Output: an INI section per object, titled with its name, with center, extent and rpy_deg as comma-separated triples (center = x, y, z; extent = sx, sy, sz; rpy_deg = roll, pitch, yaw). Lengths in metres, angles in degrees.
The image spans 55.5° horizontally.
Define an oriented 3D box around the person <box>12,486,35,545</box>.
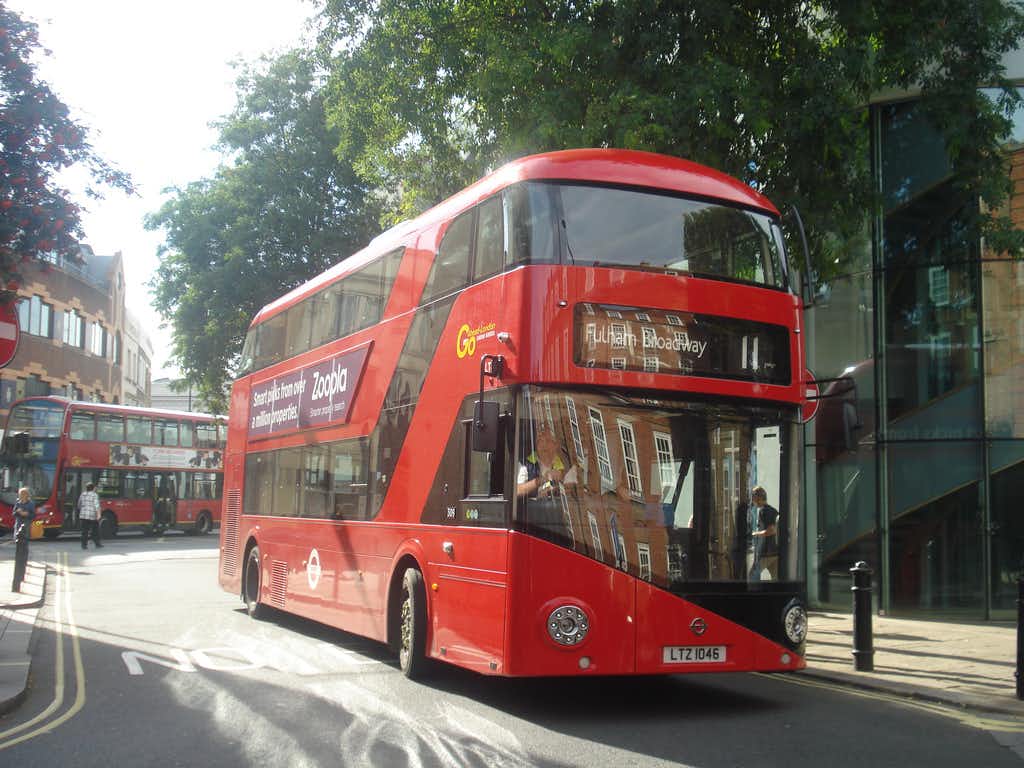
[person]
center = -10.612, 2.832, 21.189
extent = 0.327, 1.130, 2.657
rpy_deg = 2, -5, -27
